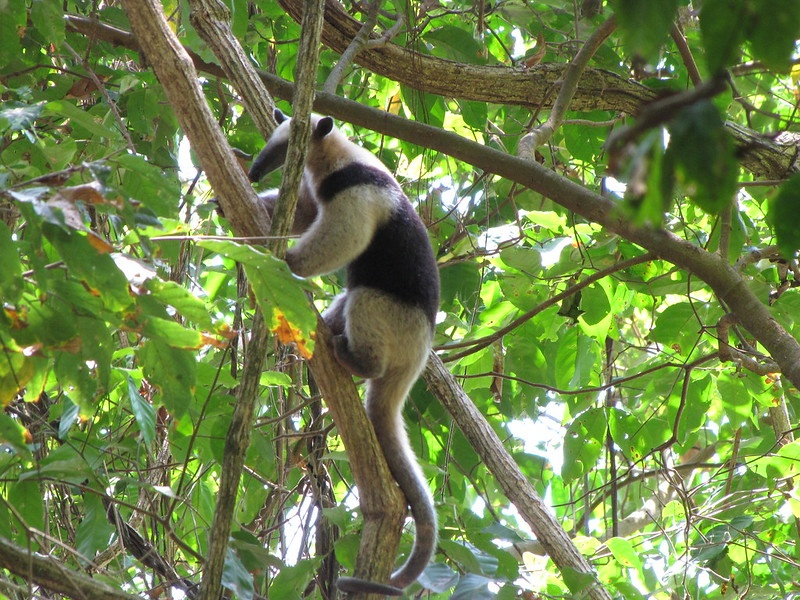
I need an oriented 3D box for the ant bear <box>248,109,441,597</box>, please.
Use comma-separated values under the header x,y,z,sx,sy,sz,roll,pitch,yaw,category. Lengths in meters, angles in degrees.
x,y,z,sx,sy,sz,roll,pitch,yaw,category
-0.183,0.057,4.956,1.243,2.583,0.654,36,-54,-24,ant bear
